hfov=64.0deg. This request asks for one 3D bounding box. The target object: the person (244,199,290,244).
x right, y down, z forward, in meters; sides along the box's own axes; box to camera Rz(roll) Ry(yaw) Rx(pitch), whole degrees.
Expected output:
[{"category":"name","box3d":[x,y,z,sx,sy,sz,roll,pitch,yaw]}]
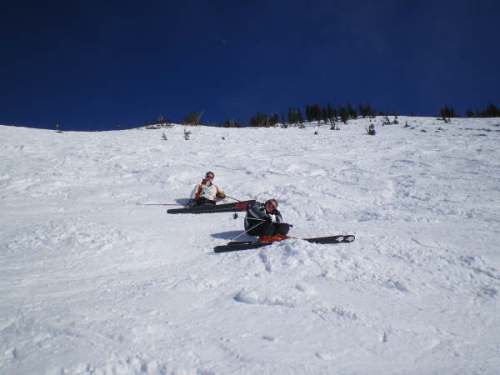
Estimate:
[{"category":"person","box3d":[0.459,0.927,10.641,1.156,1.309,0.966,7,-22,-3]}]

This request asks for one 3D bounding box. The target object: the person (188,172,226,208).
[{"category":"person","box3d":[-1.441,0.422,13.549,1.227,0.565,2.113,1,52,-5]}]
